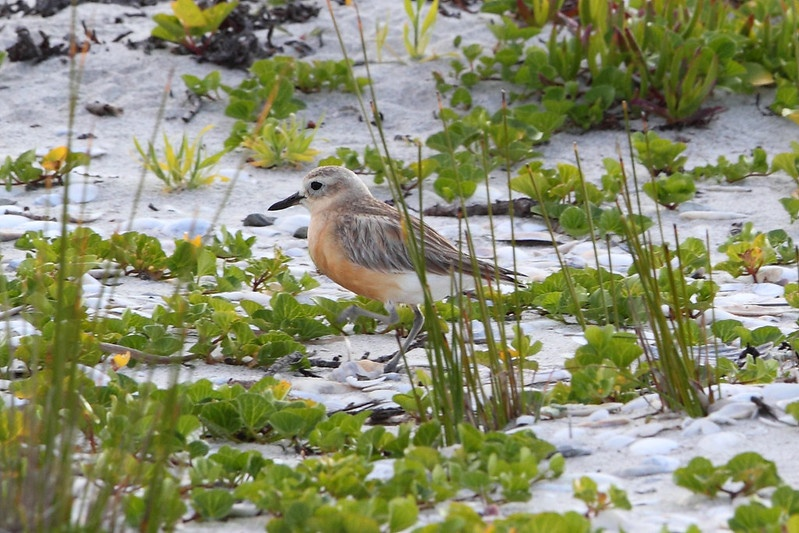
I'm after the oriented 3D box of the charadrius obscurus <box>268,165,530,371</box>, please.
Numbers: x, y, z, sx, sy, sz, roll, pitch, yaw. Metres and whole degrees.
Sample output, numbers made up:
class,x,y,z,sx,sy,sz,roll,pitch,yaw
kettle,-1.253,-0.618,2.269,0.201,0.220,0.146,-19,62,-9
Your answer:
class,x,y,z,sx,sy,sz,roll,pitch,yaw
charadrius obscurus,-0.119,-0.142,4.346,1.788,1.111,0.678,-1,-6,11
